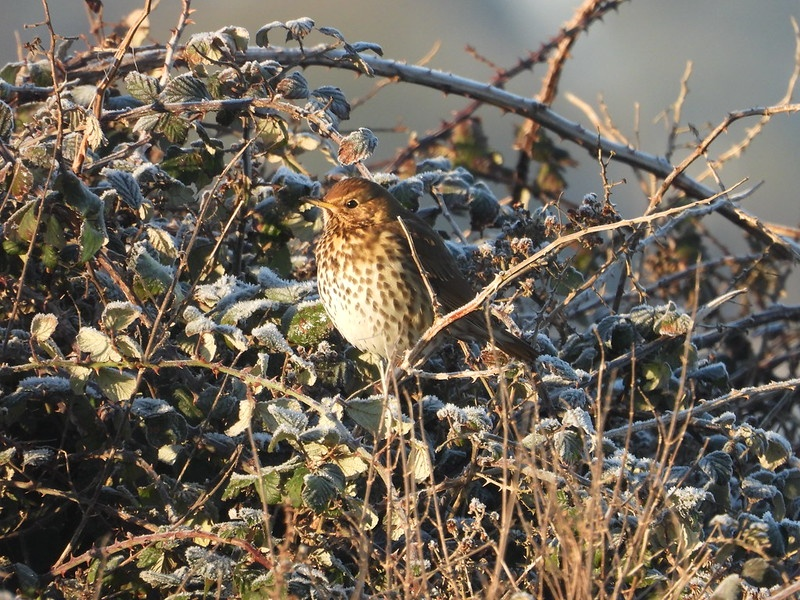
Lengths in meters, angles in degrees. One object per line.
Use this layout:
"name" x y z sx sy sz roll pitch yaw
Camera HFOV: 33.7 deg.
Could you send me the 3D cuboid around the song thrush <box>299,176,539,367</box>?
"song thrush" 0.103 -0.074 6.526 1.218 1.040 0.690 4 -7 -28
